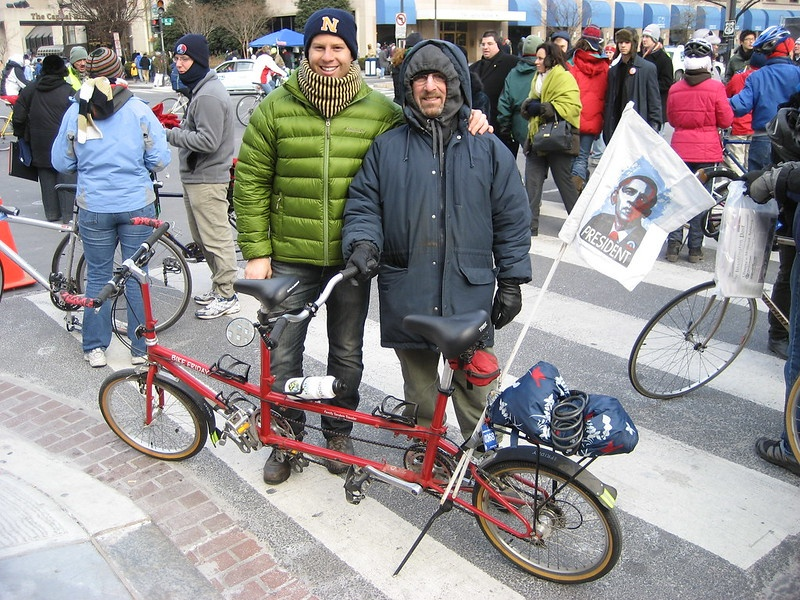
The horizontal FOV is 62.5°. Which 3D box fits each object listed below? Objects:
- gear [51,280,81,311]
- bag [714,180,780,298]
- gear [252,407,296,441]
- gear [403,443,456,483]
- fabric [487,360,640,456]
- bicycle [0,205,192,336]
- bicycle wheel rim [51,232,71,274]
[{"bbox_3d":[-2.851,-0.052,5.664,0.092,0.264,0.260,6,-1,37],"label":"gear"},{"bbox_3d":[2.381,-0.384,4.596,0.436,0.850,0.254,-3,18,-12],"label":"bag"},{"bbox_3d":[-0.764,0.768,4.046,0.204,0.064,0.212,30,4,36],"label":"gear"},{"bbox_3d":[0.138,0.940,3.762,0.215,0.224,0.072,28,43,18],"label":"gear"},{"bbox_3d":[0.821,0.557,3.316,0.558,0.193,0.438,4,21,20],"label":"fabric"},{"bbox_3d":[-2.782,-0.217,6.037,1.612,1.076,0.824,15,23,-5],"label":"bicycle"},{"bbox_3d":[-3.161,-0.438,6.214,0.080,0.350,0.348,7,-16,-19],"label":"bicycle wheel rim"}]
